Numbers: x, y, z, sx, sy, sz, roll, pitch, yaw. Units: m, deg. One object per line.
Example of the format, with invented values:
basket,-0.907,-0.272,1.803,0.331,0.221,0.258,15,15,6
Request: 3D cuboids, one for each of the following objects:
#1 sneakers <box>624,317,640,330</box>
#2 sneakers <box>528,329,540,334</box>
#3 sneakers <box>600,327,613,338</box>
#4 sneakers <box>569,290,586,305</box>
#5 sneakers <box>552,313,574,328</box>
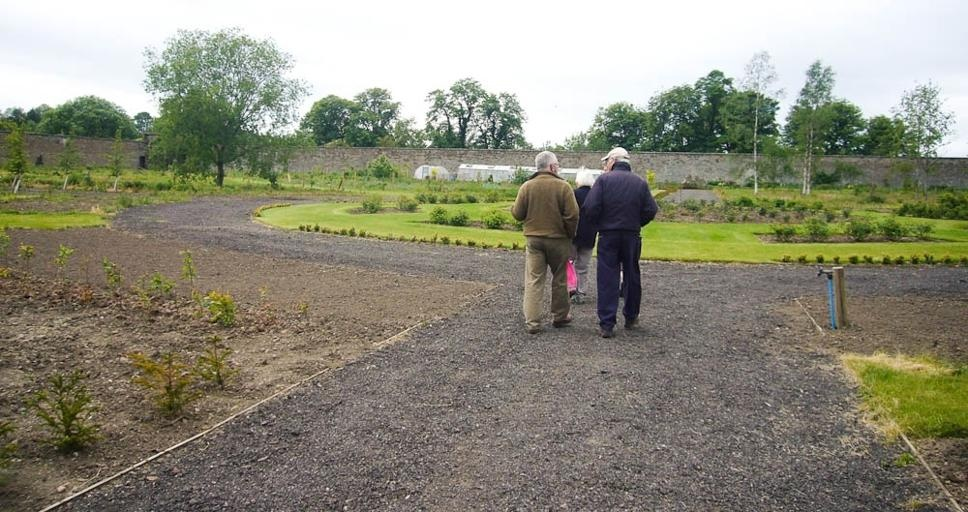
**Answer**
sneakers,3.357,1.606,15.945,0.176,0.196,0.471,-1,2,28
sneakers,1.100,1.722,15.697,0.280,0.128,0.085,1,7,3
sneakers,2.744,1.745,15.657,0.342,0.245,0.297,2,7,8
sneakers,2.316,1.054,17.380,0.298,0.385,0.157,-3,-36,12
sneakers,1.842,1.532,16.116,0.563,0.228,0.216,-10,14,-34
